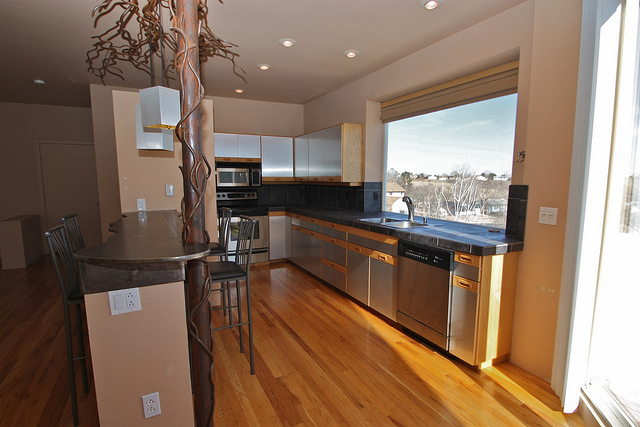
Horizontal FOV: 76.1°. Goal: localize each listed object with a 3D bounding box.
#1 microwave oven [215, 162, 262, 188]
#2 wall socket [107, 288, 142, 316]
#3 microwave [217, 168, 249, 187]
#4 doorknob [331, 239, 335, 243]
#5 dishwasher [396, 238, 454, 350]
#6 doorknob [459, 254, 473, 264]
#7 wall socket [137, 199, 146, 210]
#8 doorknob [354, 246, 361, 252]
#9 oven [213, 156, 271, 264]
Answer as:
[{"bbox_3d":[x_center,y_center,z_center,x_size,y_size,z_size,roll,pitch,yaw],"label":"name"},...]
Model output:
[{"bbox_3d":[-1.309,-0.553,6.722,0.750,0.468,0.498,-1,-15,-10],"label":"microwave oven"},{"bbox_3d":[-1.379,0.626,2.913,0.188,0.184,0.020,-11,-36,-20],"label":"wall socket"},{"bbox_3d":[-1.372,-0.579,6.491,0.471,0.297,0.292,-2,5,-33],"label":"microwave"},{"bbox_3d":[0.173,0.347,5.352,0.050,0.042,0.079,4,0,-28],"label":"doorknob"},{"bbox_3d":[1.054,0.792,4.186,0.101,1.032,0.652,-6,7,-36],"label":"dishwasher"},{"bbox_3d":[1.369,0.418,3.830,0.027,0.051,0.085,-27,27,-33],"label":"doorknob"},{"bbox_3d":[-2.083,-0.115,4.793,0.132,0.179,0.043,-2,3,-33],"label":"wall socket"},{"bbox_3d":[0.450,0.422,4.917,0.048,0.050,0.071,-7,12,-37],"label":"doorknob"},{"bbox_3d":[-1.335,-0.043,6.543,0.956,1.608,0.878,-2,12,-28],"label":"oven"}]
